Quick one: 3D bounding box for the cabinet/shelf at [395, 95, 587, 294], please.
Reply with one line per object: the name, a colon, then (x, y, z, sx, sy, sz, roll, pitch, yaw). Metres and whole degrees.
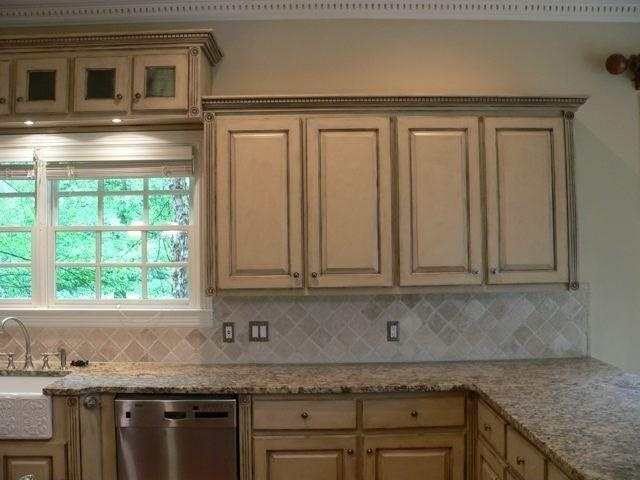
cabinet/shelf: (1.045, -0.280, 5.031, 1.194, 1.213, 0.481, -1, -1, 1)

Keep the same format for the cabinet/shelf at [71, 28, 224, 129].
cabinet/shelf: (-1.211, -1.045, 5.274, 1.060, 0.550, 0.429, 0, -3, 8)

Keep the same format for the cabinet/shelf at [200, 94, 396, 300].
cabinet/shelf: (-0.111, -0.266, 5.021, 1.211, 1.216, 0.486, -1, 0, 2)
